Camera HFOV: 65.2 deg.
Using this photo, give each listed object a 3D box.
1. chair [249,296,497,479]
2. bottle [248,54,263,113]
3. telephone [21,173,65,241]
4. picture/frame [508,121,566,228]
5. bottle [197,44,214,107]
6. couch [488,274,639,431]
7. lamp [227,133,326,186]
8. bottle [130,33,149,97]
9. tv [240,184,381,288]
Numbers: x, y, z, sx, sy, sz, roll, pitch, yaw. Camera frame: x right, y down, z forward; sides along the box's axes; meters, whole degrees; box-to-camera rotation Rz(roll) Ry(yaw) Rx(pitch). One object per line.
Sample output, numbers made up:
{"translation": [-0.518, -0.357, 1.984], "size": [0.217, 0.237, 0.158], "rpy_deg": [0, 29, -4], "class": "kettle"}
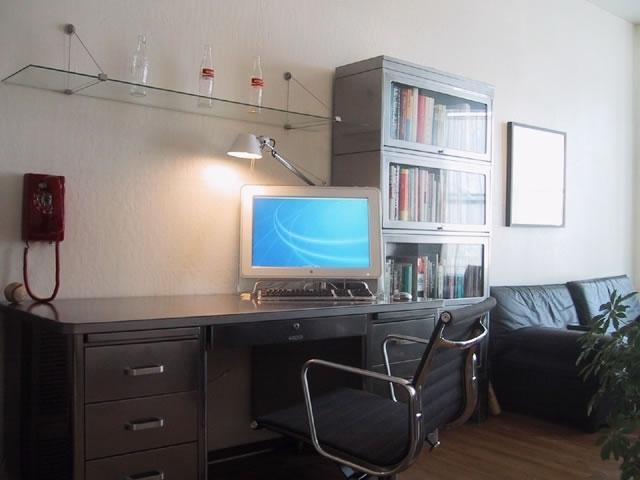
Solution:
{"translation": [0.284, 0.456, 2.295], "size": [0.908, 0.926, 0.798], "rpy_deg": [1, -3, 34], "class": "chair"}
{"translation": [-0.359, -0.893, 2.857], "size": [0.081, 0.346, 0.311], "rpy_deg": [0, 5, -6], "class": "bottle"}
{"translation": [-1.336, -0.151, 2.416], "size": [0.178, 0.322, 0.062], "rpy_deg": [-3, 6, -34], "class": "telephone"}
{"translation": [1.868, -0.564, 4.342], "size": [0.895, 0.903, 0.091], "rpy_deg": [3, -3, -40], "class": "picture/frame"}
{"translation": [-0.614, -0.893, 2.698], "size": [0.091, 0.358, 0.319], "rpy_deg": [-1, 5, -12], "class": "bottle"}
{"translation": [1.726, 0.782, 3.788], "size": [0.752, 0.839, 1.198], "rpy_deg": [3, 6, 31], "class": "couch"}
{"translation": [-0.229, -0.453, 2.845], "size": [0.488, 0.225, 0.155], "rpy_deg": [9, -1, -17], "class": "lamp"}
{"translation": [-0.917, -0.895, 2.540], "size": [0.096, 0.329, 0.296], "rpy_deg": [-1, 5, -19], "class": "bottle"}
{"translation": [-0.043, -0.042, 2.846], "size": [0.808, 0.517, 0.131], "rpy_deg": [0, 5, -6], "class": "tv"}
